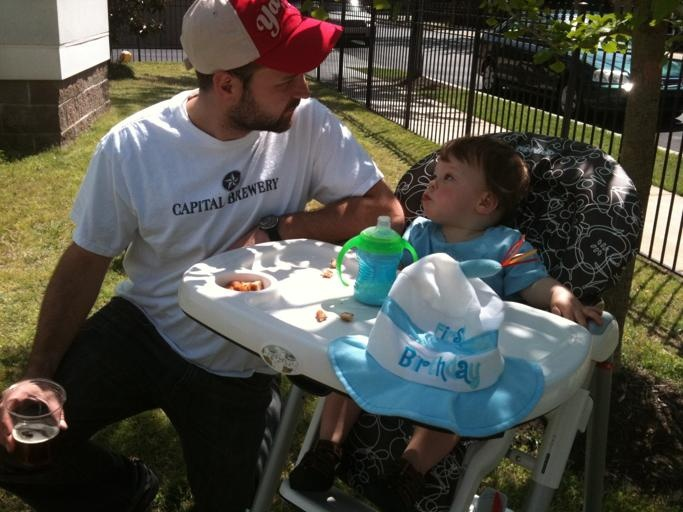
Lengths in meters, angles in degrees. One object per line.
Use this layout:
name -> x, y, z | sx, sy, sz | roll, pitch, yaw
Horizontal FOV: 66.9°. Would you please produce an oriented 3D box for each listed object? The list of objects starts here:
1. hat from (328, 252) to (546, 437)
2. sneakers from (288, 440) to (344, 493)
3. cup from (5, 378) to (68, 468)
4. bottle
hat -> 0.236, 0.246, 1.266 | 0.372, 0.284, 0.470 | 7, 14, 4
sneakers -> -0.085, 0.701, 1.721 | 0.139, 0.119, 0.160 | 9, 16, 13
cup -> -0.871, 0.485, 1.562 | 0.180, 0.234, 0.205 | -8, 36, -26
bottle -> 0.099, 0.019, 1.591 | 0.202, 0.262, 0.131 | 8, 8, -8
